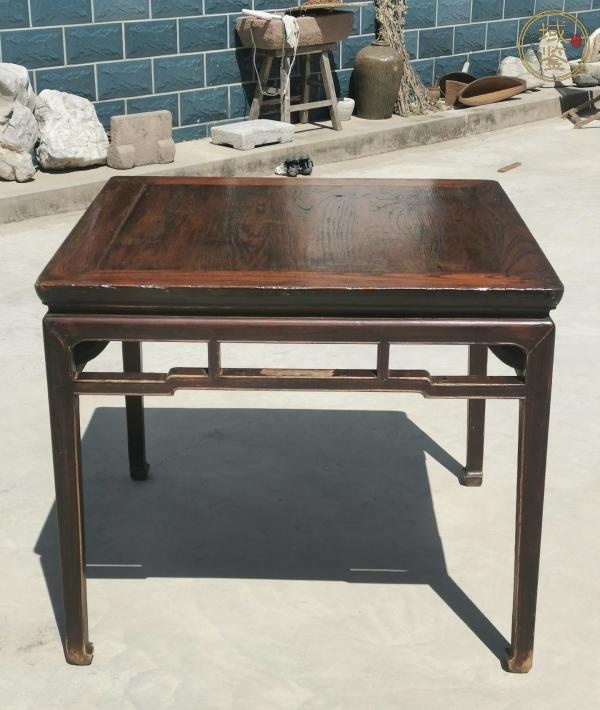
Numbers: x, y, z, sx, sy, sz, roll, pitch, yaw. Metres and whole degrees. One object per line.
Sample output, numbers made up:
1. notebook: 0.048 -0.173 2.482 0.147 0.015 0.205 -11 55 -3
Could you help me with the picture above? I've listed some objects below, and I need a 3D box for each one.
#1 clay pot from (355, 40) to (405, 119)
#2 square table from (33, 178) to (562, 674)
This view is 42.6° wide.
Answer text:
1. clay pot: 0.813 -2.691 7.577 0.566 0.619 0.527 1 25 -1
2. square table: -0.001 0.122 1.818 1.058 0.928 0.833 -1 23 3
